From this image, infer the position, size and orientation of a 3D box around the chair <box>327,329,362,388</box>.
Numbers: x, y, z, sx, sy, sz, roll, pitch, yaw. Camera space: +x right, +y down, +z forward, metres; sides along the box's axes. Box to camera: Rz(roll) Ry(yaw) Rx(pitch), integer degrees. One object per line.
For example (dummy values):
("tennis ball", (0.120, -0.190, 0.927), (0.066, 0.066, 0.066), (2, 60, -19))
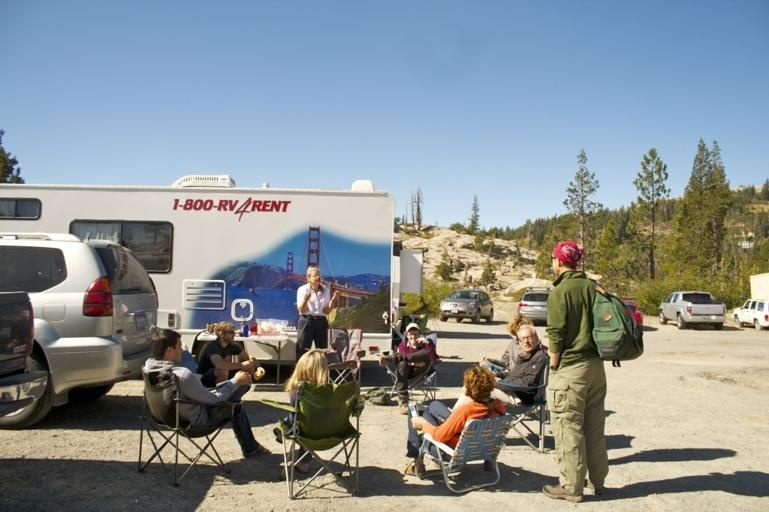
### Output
("chair", (-0.628, 1.743, 12.287), (0.903, 1.091, 0.778), (0, -7, 0))

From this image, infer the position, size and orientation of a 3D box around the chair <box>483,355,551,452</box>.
("chair", (2.118, 2.091, 10.882), (1.003, 1.673, 1.341), (1, -6, 1))

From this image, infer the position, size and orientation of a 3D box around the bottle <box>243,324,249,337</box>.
("bottle", (-2.350, 1.265, 12.320), (0.144, 0.281, 0.157), (-1, -7, 0))

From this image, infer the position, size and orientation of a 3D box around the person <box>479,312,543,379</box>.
("person", (1.987, 1.392, 11.245), (0.962, 1.173, 0.694), (8, 3, 8))

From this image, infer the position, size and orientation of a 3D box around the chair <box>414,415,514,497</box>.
("chair", (1.033, 2.443, 9.432), (0.890, 0.996, 1.193), (-2, 5, -30))

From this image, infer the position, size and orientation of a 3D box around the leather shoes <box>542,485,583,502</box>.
("leather shoes", (2.202, 2.888, 8.904), (0.434, 0.194, 0.182), (12, -4, 21))

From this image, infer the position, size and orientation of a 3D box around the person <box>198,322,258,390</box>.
("person", (-2.320, 1.628, 10.762), (0.883, 1.315, 0.737), (2, -2, 16))

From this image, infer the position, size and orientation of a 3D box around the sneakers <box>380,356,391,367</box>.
("sneakers", (0.036, 1.744, 11.951), (0.147, 0.164, 0.207), (0, -2, 18))

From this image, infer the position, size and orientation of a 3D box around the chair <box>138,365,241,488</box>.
("chair", (-2.509, 2.162, 9.489), (1.314, 1.401, 1.359), (1, 0, 0))

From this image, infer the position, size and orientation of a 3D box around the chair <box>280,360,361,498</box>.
("chair", (-0.793, 2.022, 9.258), (1.066, 1.680, 1.145), (1, 7, -7))

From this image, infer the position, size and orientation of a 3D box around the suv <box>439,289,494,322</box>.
("suv", (3.350, 1.879, 27.727), (1.075, 0.793, 1.958), (-3, -10, 21))

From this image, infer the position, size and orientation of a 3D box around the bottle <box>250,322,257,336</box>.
("bottle", (-2.210, 1.255, 12.404), (0.126, 0.169, 0.240), (0, -1, 0))

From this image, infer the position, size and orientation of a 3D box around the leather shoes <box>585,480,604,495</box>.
("leather shoes", (2.639, 2.888, 9.031), (0.193, 0.103, 0.148), (-5, -14, 44))

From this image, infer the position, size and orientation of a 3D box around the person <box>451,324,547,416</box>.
("person", (1.724, 1.831, 10.735), (1.343, 1.791, 0.817), (6, 11, -11))

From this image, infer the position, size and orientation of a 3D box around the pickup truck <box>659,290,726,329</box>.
("pickup truck", (11.421, 2.060, 26.951), (1.174, 1.041, 2.631), (1, 2, 3))

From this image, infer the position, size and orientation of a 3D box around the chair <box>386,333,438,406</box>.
("chair", (0.540, 1.941, 12.230), (1.059, 1.556, 1.080), (0, -19, 5))

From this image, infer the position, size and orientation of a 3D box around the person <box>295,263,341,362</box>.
("person", (-1.114, 0.963, 12.262), (0.565, 1.501, 0.790), (5, 8, 28))

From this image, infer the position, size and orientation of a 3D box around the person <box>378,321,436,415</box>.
("person", (0.442, 1.787, 12.093), (0.819, 1.359, 0.934), (0, -9, 21))

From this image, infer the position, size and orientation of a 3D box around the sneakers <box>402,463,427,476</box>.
("sneakers", (0.408, 2.772, 9.350), (0.159, 0.117, 0.279), (5, -3, -32))

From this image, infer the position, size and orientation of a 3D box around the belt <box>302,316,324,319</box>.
("belt", (-1.150, 1.009, 12.033), (0.339, 0.065, 0.052), (0, 7, -12))

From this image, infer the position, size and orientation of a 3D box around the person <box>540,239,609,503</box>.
("person", (2.415, 1.410, 8.952), (0.822, 3.108, 0.676), (3, 7, 13))

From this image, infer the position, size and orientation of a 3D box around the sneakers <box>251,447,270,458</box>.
("sneakers", (-1.638, 2.628, 9.752), (0.291, 0.132, 0.090), (-3, 4, -22))
